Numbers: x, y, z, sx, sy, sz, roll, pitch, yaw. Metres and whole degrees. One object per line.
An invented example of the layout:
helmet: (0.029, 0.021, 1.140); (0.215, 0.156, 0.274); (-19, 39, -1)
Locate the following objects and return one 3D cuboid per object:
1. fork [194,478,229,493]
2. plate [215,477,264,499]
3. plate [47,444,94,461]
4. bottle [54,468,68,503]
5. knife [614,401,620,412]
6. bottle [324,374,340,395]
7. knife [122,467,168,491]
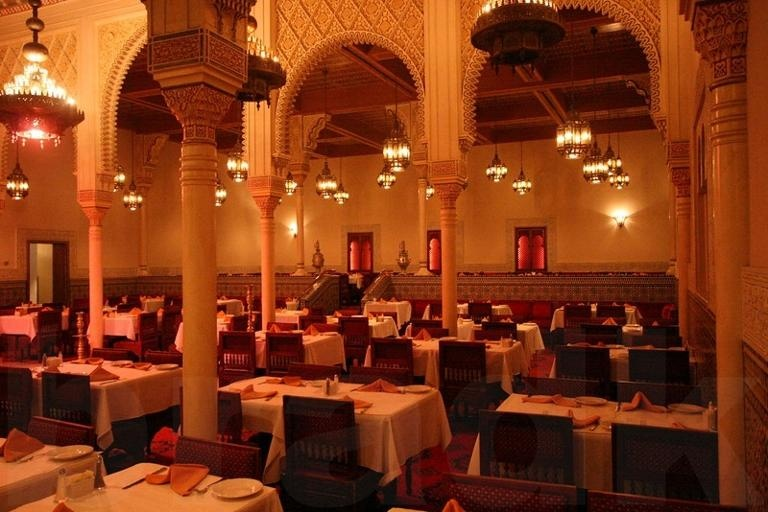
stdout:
fork: (-1.310, 1.734, 5.134); (0.070, 0.048, 0.304); (-2, -3, 25)
plate: (-1.092, 1.746, 5.084); (0.370, 0.109, 0.228); (1, -4, -18)
plate: (-2.538, 1.610, 5.529); (0.343, 0.096, 0.170); (0, -4, -3)
bottle: (-2.363, 1.679, 4.980); (0.072, 0.220, 0.187); (1, -4, -25)
knife: (2.130, 1.385, 6.183); (0.054, 0.124, 0.051); (-4, 2, -21)
bottle: (-0.516, 1.303, 6.768); (0.108, 0.185, 0.168); (-1, -8, -1)
knife: (-1.815, 1.703, 5.197); (0.339, 0.119, 0.226); (1, -4, -19)
